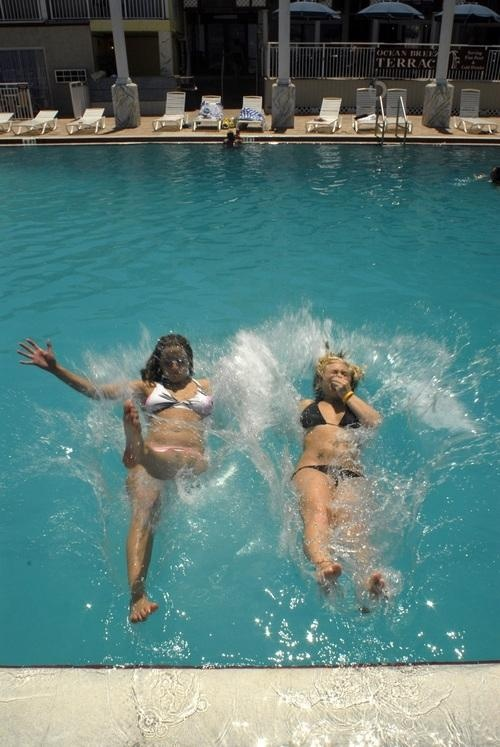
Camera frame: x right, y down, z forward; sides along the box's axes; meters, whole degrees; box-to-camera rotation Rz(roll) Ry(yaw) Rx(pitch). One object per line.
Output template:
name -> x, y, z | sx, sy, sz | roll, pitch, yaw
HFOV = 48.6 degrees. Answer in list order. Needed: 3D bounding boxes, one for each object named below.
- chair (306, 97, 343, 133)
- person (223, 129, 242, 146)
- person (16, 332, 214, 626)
chair -> 2.323, -8.053, 17.265 | 1.060, 1.019, 1.745 | 1, 23, 8
person -> -0.483, -6.734, 15.801 | 0.725, 0.324, 0.852 | -2, 40, -3
person -> -0.621, 0.521, 3.813 | 1.602, 0.541, 1.599 | 18, 46, -19
